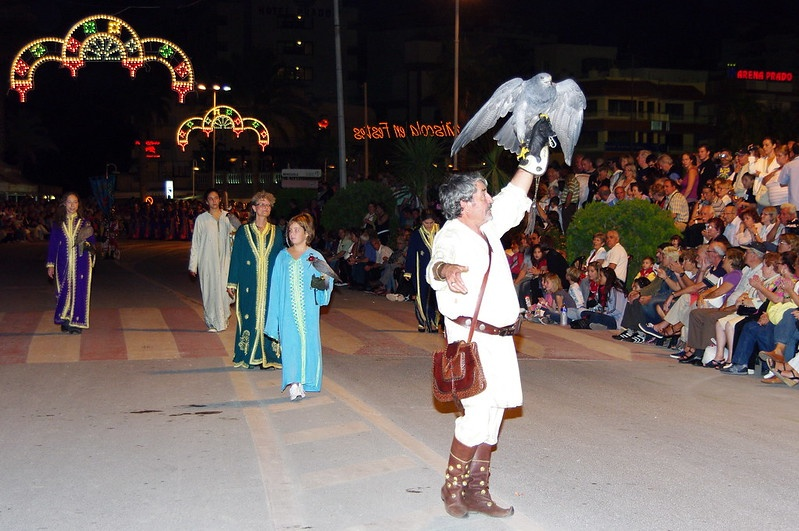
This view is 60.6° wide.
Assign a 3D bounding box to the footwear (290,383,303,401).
[{"bbox_3d":[-1.438,1.752,9.583,0.203,0.243,0.195,0,9,-11],"label":"footwear"}]

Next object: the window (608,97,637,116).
[{"bbox_3d":[22.171,-16.214,70.348,3.044,1.890,1.630,0,3,-7],"label":"window"}]

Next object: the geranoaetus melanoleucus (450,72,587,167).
[{"bbox_3d":[1.278,-1.440,6.760,1.265,0.849,0.675,5,13,-8],"label":"geranoaetus melanoleucus"}]

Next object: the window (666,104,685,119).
[{"bbox_3d":[28.874,-16.616,73.058,1.800,1.736,1.091,0,-2,-6],"label":"window"}]

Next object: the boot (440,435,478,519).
[{"bbox_3d":[0.528,1.941,6.330,0.305,0.690,0.287,3,9,6],"label":"boot"}]

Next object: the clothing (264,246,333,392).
[{"bbox_3d":[-1.461,0.745,9.735,0.767,1.895,0.803,-3,10,-30],"label":"clothing"}]

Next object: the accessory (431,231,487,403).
[{"bbox_3d":[0.559,0.489,6.480,0.702,1.635,0.239,-14,-31,42],"label":"accessory"}]

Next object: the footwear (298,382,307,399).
[{"bbox_3d":[-1.368,1.755,9.591,0.113,0.167,0.150,-6,26,0],"label":"footwear"}]

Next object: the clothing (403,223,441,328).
[{"bbox_3d":[0.338,0.211,15.207,0.567,2.436,1.031,-4,1,18],"label":"clothing"}]
